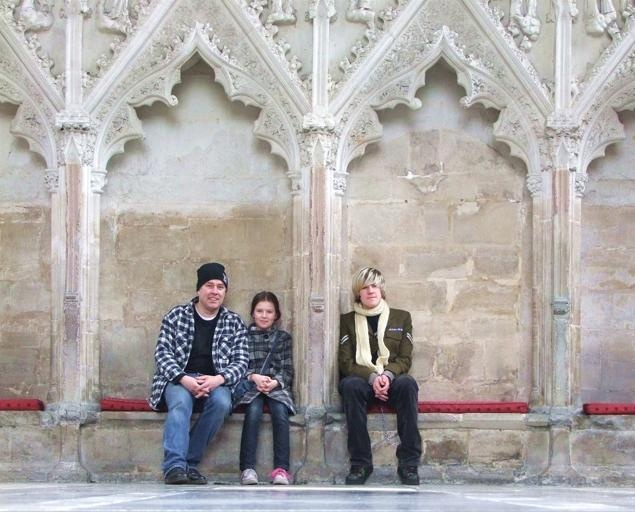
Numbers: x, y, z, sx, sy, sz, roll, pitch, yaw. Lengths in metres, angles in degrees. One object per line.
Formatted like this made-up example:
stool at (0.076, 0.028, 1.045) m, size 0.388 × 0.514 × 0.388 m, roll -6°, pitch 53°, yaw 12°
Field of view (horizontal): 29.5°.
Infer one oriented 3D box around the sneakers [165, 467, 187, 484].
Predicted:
sneakers at (-1.190, 1.850, 10.203) m, size 0.189 × 0.146 × 0.146 m, roll 0°, pitch -9°, yaw -6°

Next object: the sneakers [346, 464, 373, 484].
sneakers at (0.387, 1.934, 10.735) m, size 0.243 × 0.162 × 0.112 m, roll 5°, pitch -11°, yaw -36°

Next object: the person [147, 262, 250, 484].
person at (-1.025, 0.976, 10.743) m, size 0.848 × 1.899 × 0.712 m, roll 0°, pitch -9°, yaw -12°

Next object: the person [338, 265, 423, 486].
person at (0.554, 1.073, 10.980) m, size 0.711 × 1.957 × 0.571 m, roll -2°, pitch -9°, yaw 0°

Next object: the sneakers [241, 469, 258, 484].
sneakers at (-0.599, 1.932, 10.619) m, size 0.134 × 0.128 × 0.164 m, roll 0°, pitch -9°, yaw -9°

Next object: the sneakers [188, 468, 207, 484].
sneakers at (-1.053, 1.886, 10.374) m, size 0.156 × 0.134 × 0.184 m, roll -6°, pitch -9°, yaw 27°

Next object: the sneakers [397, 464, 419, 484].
sneakers at (0.820, 1.928, 10.648) m, size 0.098 × 0.116 × 0.279 m, roll 2°, pitch -12°, yaw -6°

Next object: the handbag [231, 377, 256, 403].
handbag at (-0.670, 1.209, 10.883) m, size 0.228 × 0.136 × 0.237 m, roll -9°, pitch 24°, yaw -12°

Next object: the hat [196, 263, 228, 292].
hat at (-0.974, 0.184, 11.115) m, size 0.214 × 0.208 × 0.278 m, roll 7°, pitch -19°, yaw -24°
